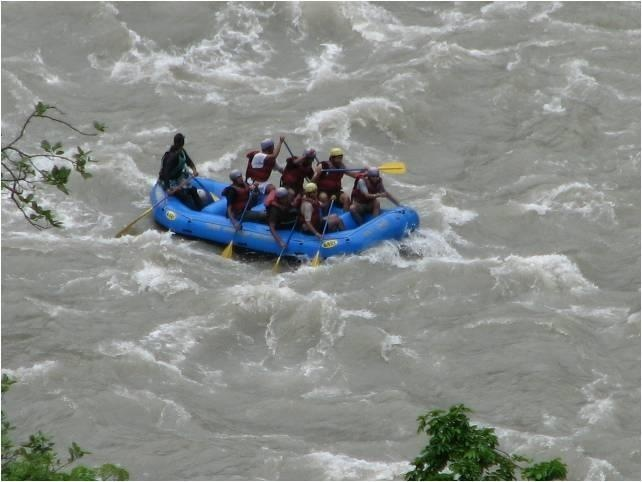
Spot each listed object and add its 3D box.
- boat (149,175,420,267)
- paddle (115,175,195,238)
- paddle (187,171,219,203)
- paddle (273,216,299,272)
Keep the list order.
[{"bbox_3d":[-0.977,-0.358,22.010,5.780,0.977,1.750,8,26,13],"label":"boat"},{"bbox_3d":[-3.801,-0.928,22.377,2.073,0.369,1.074,-31,18,1],"label":"paddle"},{"bbox_3d":[-2.753,-1.195,22.948,0.834,0.245,0.481,44,41,18],"label":"paddle"},{"bbox_3d":[-0.802,0.108,21.468,0.307,0.845,1.112,10,27,11],"label":"paddle"}]
